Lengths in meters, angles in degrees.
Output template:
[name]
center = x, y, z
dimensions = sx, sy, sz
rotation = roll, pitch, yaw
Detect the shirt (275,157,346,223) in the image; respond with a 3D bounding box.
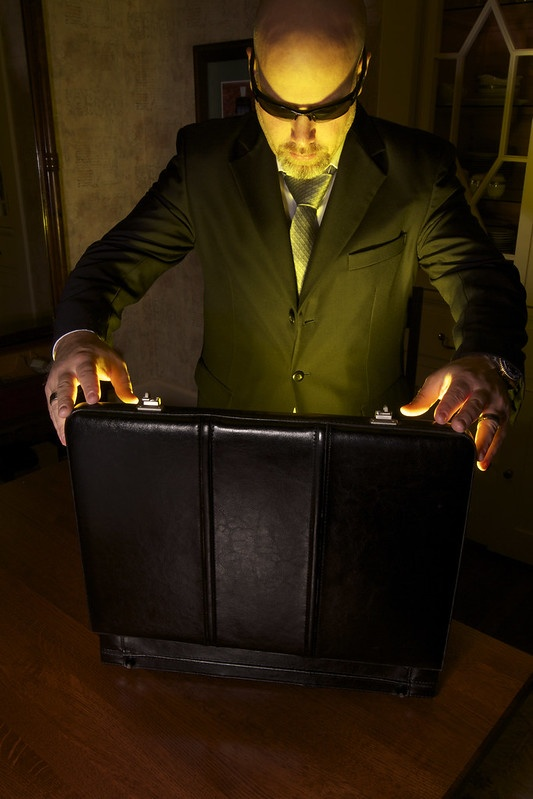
[shirt]
center = 0.081, -0.393, 1.204
dimensions = 0.078, 0.126, 0.115
rotation = 1, 42, 3

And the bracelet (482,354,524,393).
[bracelet]
center = 0.343, -0.045, 0.934
dimensions = 0.056, 0.055, 0.055
rotation = 14, 36, 5

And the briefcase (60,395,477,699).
[briefcase]
center = -0.002, 0.189, 0.762
dimensions = 0.368, 0.303, 0.063
rotation = 4, 25, 8

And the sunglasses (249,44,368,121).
[sunglasses]
center = 0.059, -0.466, 0.918
dimensions = 0.179, 0.103, 0.157
rotation = 3, 23, -2
